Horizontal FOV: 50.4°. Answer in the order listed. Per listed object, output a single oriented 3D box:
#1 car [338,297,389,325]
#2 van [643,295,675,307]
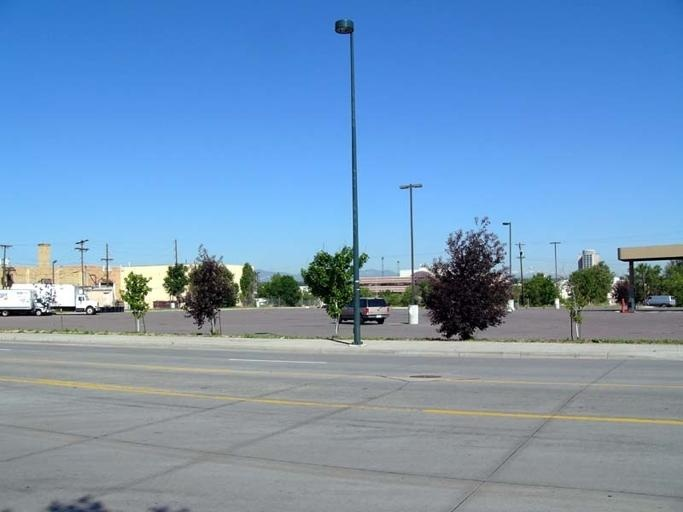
[{"bbox_3d":[1.259,3.323,44.859,1.531,1.133,2.910,1,1,-35],"label":"car"},{"bbox_3d":[41.805,6.470,97.127,3.982,1.888,2.281,3,2,33],"label":"van"}]
